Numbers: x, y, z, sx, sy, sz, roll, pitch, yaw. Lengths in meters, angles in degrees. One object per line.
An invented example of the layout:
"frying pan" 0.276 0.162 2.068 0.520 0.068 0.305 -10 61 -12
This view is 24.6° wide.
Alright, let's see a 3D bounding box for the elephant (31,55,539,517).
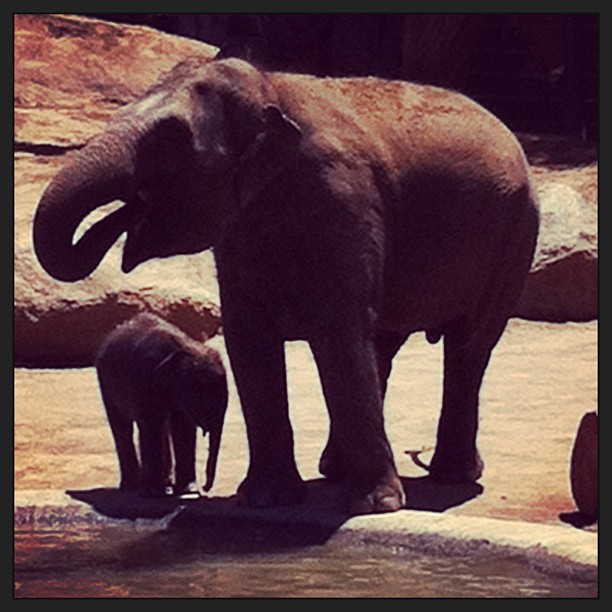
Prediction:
"elephant" -0.003 -0.065 3.459 1.301 1.206 0.579 1 9 -26
